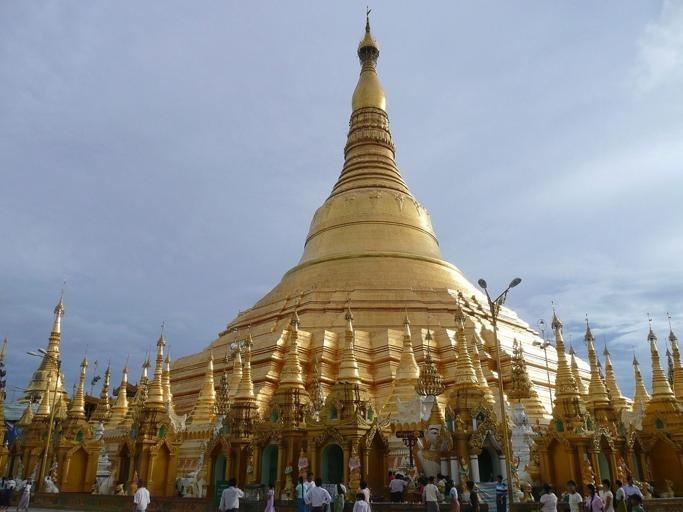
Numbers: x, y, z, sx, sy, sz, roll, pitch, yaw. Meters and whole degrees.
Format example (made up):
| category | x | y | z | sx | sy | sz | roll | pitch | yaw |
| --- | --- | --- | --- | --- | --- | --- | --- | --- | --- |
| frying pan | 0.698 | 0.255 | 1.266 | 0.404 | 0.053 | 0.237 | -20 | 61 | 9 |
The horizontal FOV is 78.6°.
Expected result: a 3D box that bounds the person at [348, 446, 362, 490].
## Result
| category | x | y | z | sx | sy | sz | roll | pitch | yaw |
| --- | --- | --- | --- | --- | --- | --- | --- | --- | --- |
| person | 0.364 | 5.920 | 11.710 | 0.323 | 1.039 | 0.291 | -2 | -17 | 9 |
